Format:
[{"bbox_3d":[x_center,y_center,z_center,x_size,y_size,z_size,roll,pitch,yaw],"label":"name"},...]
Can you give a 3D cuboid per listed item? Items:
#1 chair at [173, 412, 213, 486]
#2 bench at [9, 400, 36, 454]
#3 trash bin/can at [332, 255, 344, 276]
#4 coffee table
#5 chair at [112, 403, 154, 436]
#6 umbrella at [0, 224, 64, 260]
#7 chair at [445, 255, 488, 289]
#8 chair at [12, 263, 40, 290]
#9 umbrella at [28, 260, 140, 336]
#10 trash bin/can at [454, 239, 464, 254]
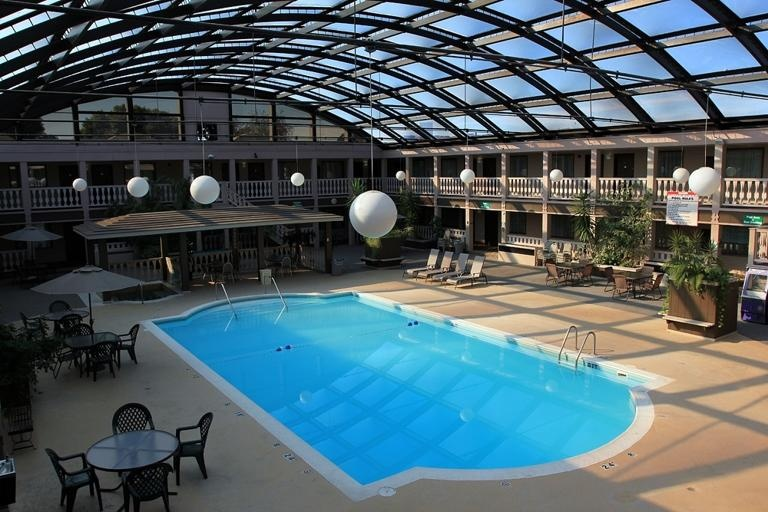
[{"bbox_3d":[-4.163,4.138,10.411,0.820,1.119,0.690,-3,7,-36],"label":"chair"},{"bbox_3d":[-8.579,3.992,11.358,0.452,1.006,0.675,-4,5,-40],"label":"bench"},{"bbox_3d":[-2.688,0.582,28.260,1.076,1.271,1.104,-2,7,-10],"label":"trash bin/can"},{"bbox_3d":[-5.087,4.045,9.757,1.522,0.339,1.528,11,8,26],"label":"coffee table"},{"bbox_3d":[-5.695,3.736,10.922,0.654,0.914,0.686,-8,32,-29],"label":"chair"},{"bbox_3d":[-20.851,-0.778,28.305,1.972,1.295,1.940,7,14,10],"label":"umbrella"},{"bbox_3d":[4.461,0.798,25.200,2.250,1.522,1.058,-2,4,-21],"label":"chair"},{"bbox_3d":[-19.269,1.141,25.826,1.073,1.790,1.240,-5,15,-38],"label":"chair"},{"bbox_3d":[-9.419,1.323,15.417,2.967,2.094,2.863,-4,13,-38],"label":"umbrella"},{"bbox_3d":[5.209,-0.610,33.552,0.806,0.908,0.867,2,6,0],"label":"trash bin/can"}]
